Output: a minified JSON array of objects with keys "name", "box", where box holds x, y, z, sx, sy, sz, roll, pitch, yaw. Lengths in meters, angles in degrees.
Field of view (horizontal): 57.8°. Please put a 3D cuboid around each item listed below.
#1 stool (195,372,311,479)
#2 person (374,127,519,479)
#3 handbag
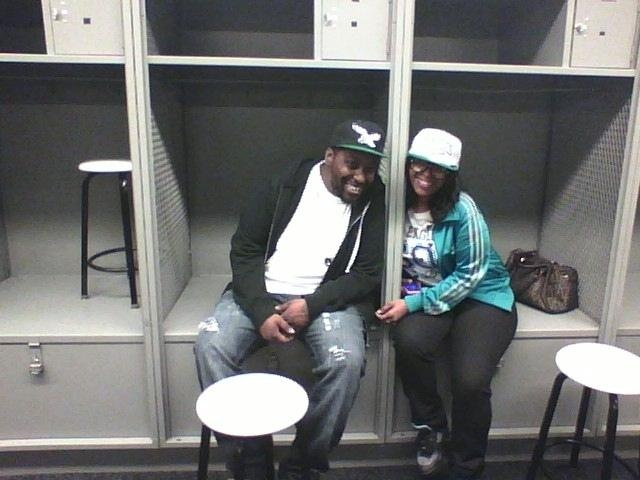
[{"name":"stool","box":[-0.244,0.599,2.118,0.359,0.237,0.354,14,35,19]},{"name":"person","box":[0.596,0.289,2.716,0.579,1.574,0.539,9,16,30]},{"name":"handbag","box":[1.189,0.208,3.210,0.226,0.281,0.448,-8,15,-24]}]
